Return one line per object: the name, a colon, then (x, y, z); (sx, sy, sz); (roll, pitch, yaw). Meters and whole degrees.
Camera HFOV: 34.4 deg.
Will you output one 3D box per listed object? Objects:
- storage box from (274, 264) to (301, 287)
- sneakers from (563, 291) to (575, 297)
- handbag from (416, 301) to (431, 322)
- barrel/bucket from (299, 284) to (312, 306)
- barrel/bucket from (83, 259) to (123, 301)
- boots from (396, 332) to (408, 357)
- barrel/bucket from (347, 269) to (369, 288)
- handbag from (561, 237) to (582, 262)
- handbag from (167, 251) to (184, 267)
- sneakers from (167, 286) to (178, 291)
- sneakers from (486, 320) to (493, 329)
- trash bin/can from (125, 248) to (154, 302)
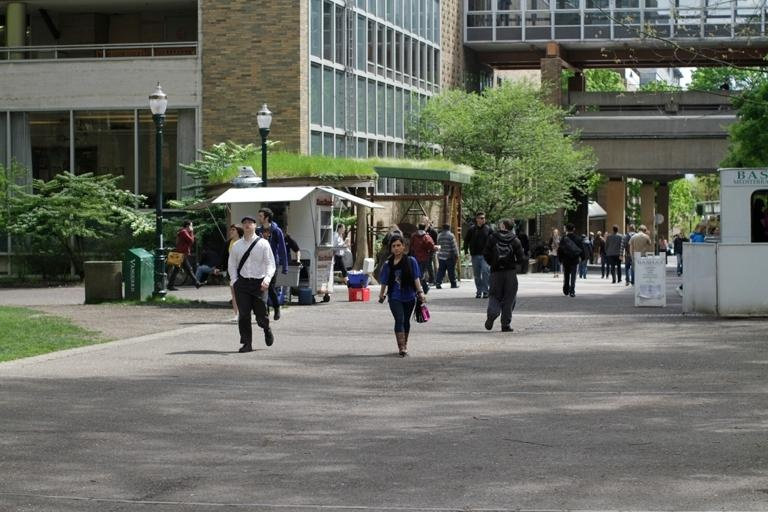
storage box: (-2.412, 0.537, 30.796); (0.660, 0.426, 0.483); (-2, -4, 18)
sneakers: (5.352, 1.140, 35.452); (0.105, 0.133, 0.316); (4, 5, 23)
handbag: (0.746, 1.097, 23.802); (0.272, 0.358, 0.523); (-1, 0, 24)
barrel/bucket: (-1.978, 1.066, 31.795); (0.391, 0.422, 0.388); (0, 1, 0)
barrel/bucket: (-7.195, 0.725, 32.102); (1.241, 1.238, 0.909); (0, -1, -1)
boots: (0.354, 1.671, 23.285); (0.207, 0.416, 0.418); (-2, 0, -1)
barrel/bucket: (-0.711, 0.660, 33.767); (0.460, 0.306, 0.454); (-2, -5, 0)
handbag: (5.377, -0.133, 35.445); (0.586, 0.786, 0.436); (3, -16, -14)
handbag: (-6.204, 0.138, 37.118); (0.400, 0.372, 0.168); (6, -24, 8)
sneakers: (-6.345, 1.033, 37.472); (0.304, 0.129, 0.100); (-1, 5, -12)
sneakers: (2.261, 1.497, 26.432); (0.089, 0.265, 0.122); (2, 2, 5)
trash bin/can: (-6.253, 0.523, 32.023); (0.805, 1.315, 0.599); (-2, 0, -32)
